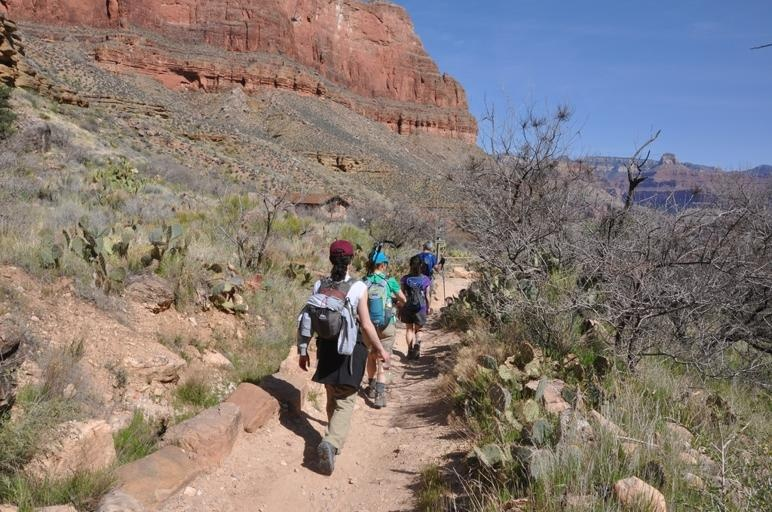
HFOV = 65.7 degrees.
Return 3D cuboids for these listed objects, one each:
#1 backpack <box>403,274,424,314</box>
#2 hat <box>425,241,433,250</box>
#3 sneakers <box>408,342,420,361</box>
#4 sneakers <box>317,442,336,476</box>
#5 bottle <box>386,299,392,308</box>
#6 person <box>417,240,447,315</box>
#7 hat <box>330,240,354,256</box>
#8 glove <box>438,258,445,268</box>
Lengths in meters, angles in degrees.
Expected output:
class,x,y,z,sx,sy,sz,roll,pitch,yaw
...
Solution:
class,x,y,z,sx,sy,sz,roll,pitch,yaw
backpack,0.654,0.674,11.502,0.422,0.743,0.423,-1,15,13
hat,0.964,-0.261,13.362,0.162,0.138,0.225,-4,-4,2
sneakers,0.567,1.835,11.561,0.137,0.414,0.160,2,5,11
sneakers,-0.852,2.939,8.779,0.215,0.561,0.243,-3,-3,11
bottle,0.072,0.805,10.097,0.078,0.123,0.032,12,11,35
person,0.963,0.390,13.473,0.559,1.534,0.534,12,30,19
hat,-0.629,-0.097,8.989,0.264,0.246,0.466,5,0,-4
glove,1.674,0.153,17.472,0.120,0.446,0.169,10,-26,5
